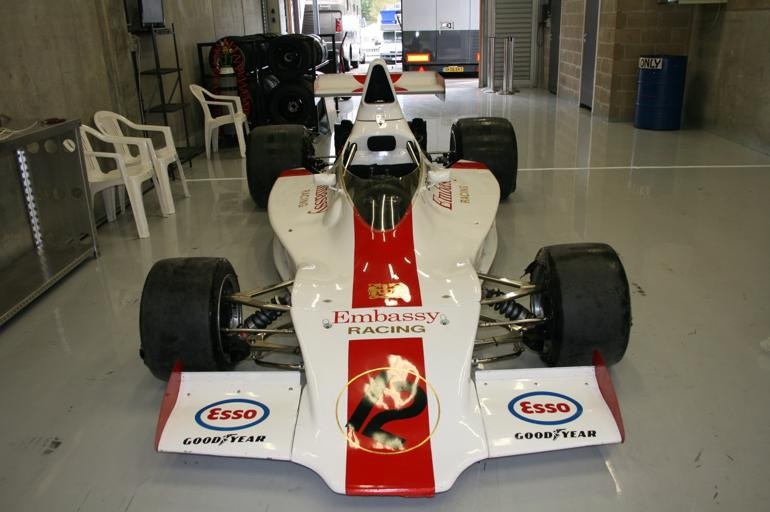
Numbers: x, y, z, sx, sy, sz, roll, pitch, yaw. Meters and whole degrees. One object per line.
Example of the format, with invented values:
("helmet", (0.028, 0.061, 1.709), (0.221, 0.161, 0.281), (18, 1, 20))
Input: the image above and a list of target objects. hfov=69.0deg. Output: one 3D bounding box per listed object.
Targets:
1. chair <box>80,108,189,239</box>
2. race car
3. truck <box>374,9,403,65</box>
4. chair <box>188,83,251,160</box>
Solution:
("chair", (-2.374, -0.860, 5.404), (0.808, 1.324, 0.822), (-3, 21, 0))
("race car", (-0.042, -0.214, 3.852), (2.532, 1.155, 3.892), (-1, 31, -2))
("truck", (0.152, -7.039, 18.030), (1.171, 1.834, 3.443), (-1, 26, 2))
("chair", (-2.106, -1.723, 7.156), (0.587, 0.837, 0.553), (-3, 19, -9))
